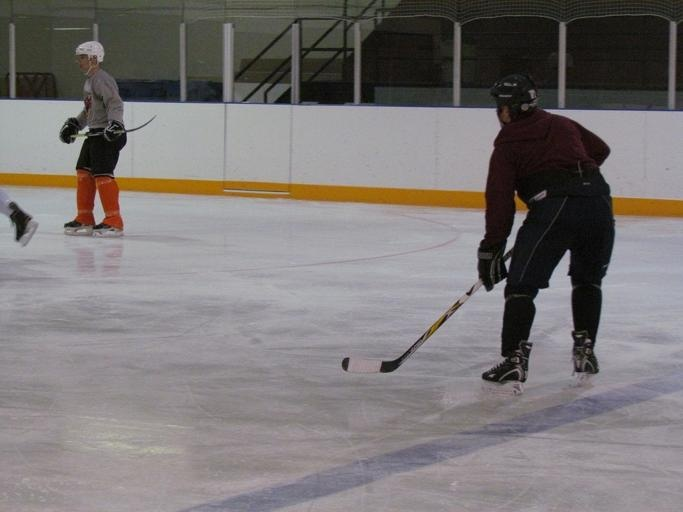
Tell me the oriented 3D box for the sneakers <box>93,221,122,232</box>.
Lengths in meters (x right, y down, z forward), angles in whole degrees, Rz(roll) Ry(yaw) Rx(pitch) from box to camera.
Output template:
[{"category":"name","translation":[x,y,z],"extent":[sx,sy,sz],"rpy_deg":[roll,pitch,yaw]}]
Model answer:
[{"category":"sneakers","translation":[-2.067,-0.235,9.110],"extent":[0.239,0.106,0.138],"rpy_deg":[7,11,38]}]

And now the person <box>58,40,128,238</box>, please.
[{"category":"person","translation":[-2.143,-1.029,9.160],"extent":[0.565,1.701,0.523],"rpy_deg":[3,11,6]}]

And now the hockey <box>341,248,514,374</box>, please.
[{"category":"hockey","translation":[0.483,0.333,5.825],"extent":[0.986,0.102,0.137],"rpy_deg":[-34,56,-10]}]

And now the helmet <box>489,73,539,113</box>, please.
[{"category":"helmet","translation":[0.811,-0.741,4.681],"extent":[0.249,0.154,0.173],"rpy_deg":[13,19,18]}]

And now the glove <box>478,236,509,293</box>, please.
[{"category":"glove","translation":[0.691,0.038,4.764],"extent":[0.112,0.206,0.187],"rpy_deg":[12,16,28]}]

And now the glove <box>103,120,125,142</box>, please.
[{"category":"glove","translation":[-1.994,-1.077,8.991],"extent":[0.188,0.080,0.201],"rpy_deg":[-6,39,-15]}]

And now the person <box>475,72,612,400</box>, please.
[{"category":"person","translation":[0.938,-0.123,4.677],"extent":[0.616,1.379,0.465],"rpy_deg":[2,11,3]}]
